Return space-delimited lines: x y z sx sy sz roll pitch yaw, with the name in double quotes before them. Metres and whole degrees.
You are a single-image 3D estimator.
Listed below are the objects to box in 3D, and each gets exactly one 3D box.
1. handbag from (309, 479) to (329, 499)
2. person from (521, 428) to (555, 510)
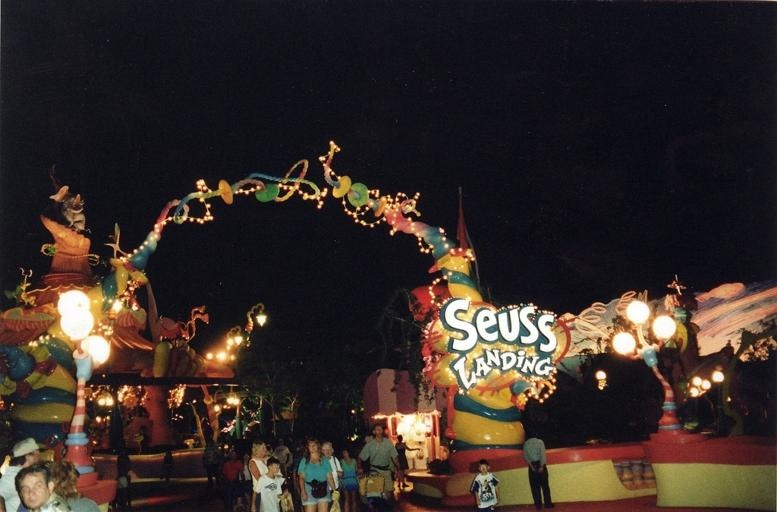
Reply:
"handbag" -1.704 5.744 18.038 0.426 0.385 0.452 1 -3 -1
"person" 4.259 6.141 20.712 0.636 1.933 1.271 -11 -33 8
